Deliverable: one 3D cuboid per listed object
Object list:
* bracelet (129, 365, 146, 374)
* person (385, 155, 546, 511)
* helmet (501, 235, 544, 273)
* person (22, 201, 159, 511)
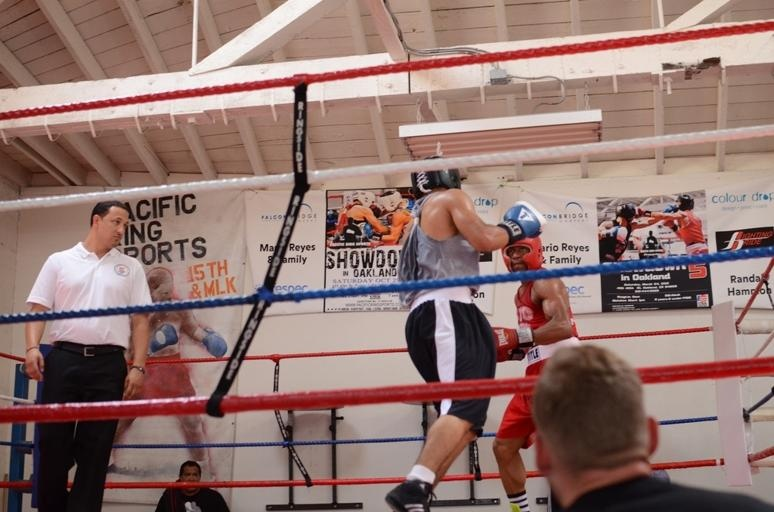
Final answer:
[{"bbox_3d":[-1.628,0.722,5.327,0.070,0.034,0.064,-23,-30,17],"label":"bracelet"},{"bbox_3d":[0.351,0.436,4.863,1.015,1.522,0.705,-4,1,-44],"label":"person"},{"bbox_3d":[0.927,-0.024,5.705,0.227,0.268,0.266,-1,2,25],"label":"helmet"},{"bbox_3d":[-1.866,0.593,5.199,0.777,1.861,0.771,-3,1,-23],"label":"person"}]
